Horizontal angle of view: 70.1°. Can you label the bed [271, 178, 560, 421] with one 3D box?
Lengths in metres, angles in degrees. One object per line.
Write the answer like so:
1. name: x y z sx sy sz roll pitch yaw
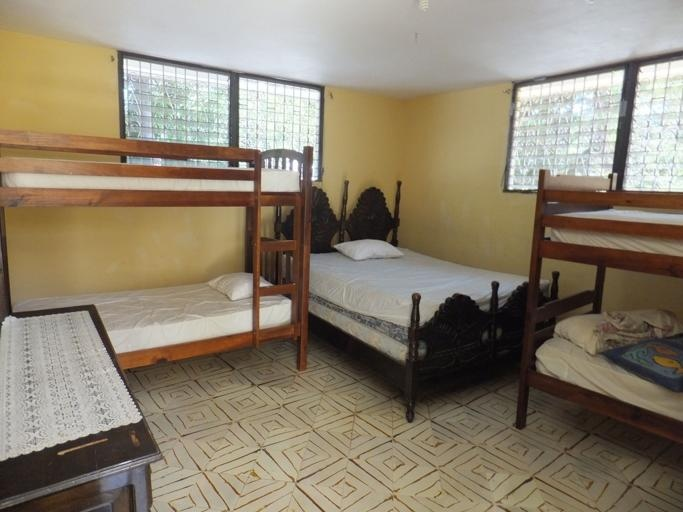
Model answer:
1. bed: 0.743 0.243 5.494 2.105 2.191 2.806 -5 14 -26
